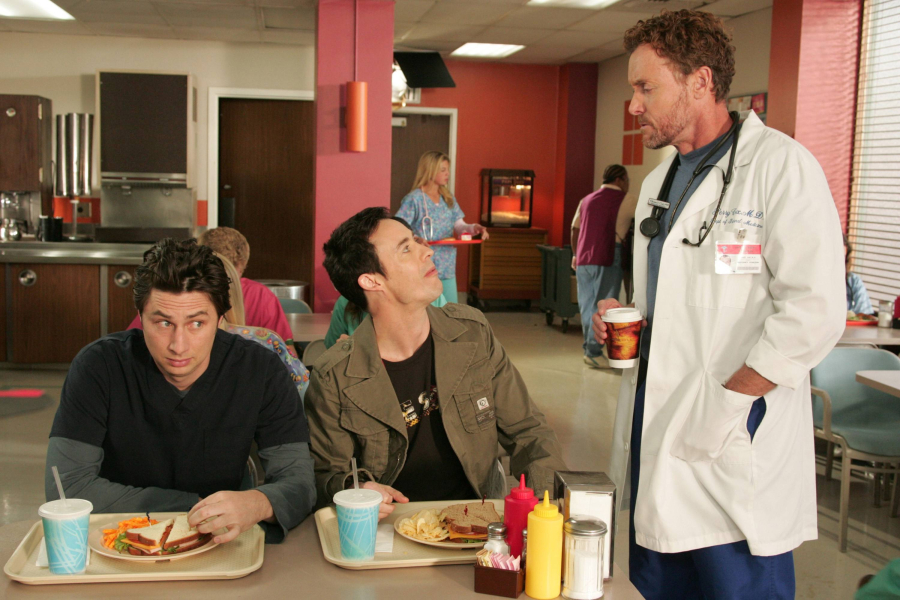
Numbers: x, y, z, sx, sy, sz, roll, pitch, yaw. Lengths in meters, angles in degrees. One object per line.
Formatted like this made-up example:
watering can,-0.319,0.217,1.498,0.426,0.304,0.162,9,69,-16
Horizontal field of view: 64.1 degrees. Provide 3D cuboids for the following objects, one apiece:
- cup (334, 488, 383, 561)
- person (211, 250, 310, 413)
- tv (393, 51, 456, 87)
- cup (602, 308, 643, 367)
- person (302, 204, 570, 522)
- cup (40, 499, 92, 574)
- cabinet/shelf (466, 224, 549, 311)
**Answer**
cup,-0.259,0.645,2.028,0.147,0.172,0.150,-1,-6,0
person,-0.757,0.116,2.873,0.230,0.768,0.285,-24,11,-34
tv,-0.354,-3.113,9.766,0.785,0.491,0.282,0,12,-2
cup,0.607,0.142,2.510,0.168,0.183,0.162,1,-5,0
person,-0.085,0.271,2.510,0.807,1.107,0.695,-5,19,1
cup,-1.018,0.638,1.932,0.139,0.174,0.146,-2,-4,0
cabinet/shelf,0.773,-0.474,10.696,1.337,1.337,1.098,0,1,-7
